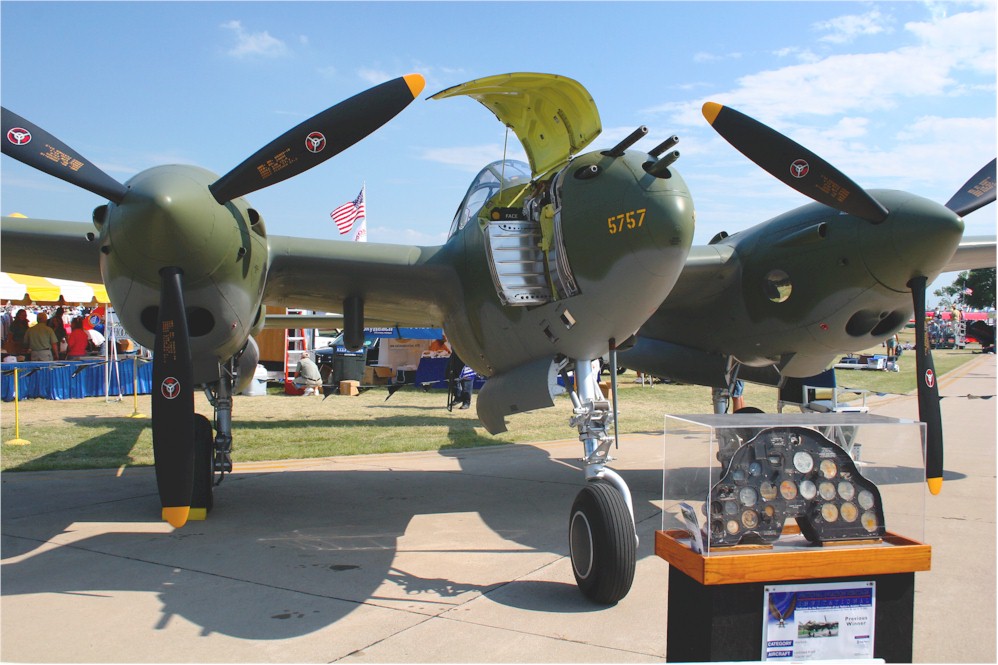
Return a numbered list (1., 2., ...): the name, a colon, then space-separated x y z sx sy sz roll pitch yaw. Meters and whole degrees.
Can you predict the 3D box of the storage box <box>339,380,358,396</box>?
1. storage box: -4.208 1.548 23.466 0.431 0.396 0.418 0 0 -14
